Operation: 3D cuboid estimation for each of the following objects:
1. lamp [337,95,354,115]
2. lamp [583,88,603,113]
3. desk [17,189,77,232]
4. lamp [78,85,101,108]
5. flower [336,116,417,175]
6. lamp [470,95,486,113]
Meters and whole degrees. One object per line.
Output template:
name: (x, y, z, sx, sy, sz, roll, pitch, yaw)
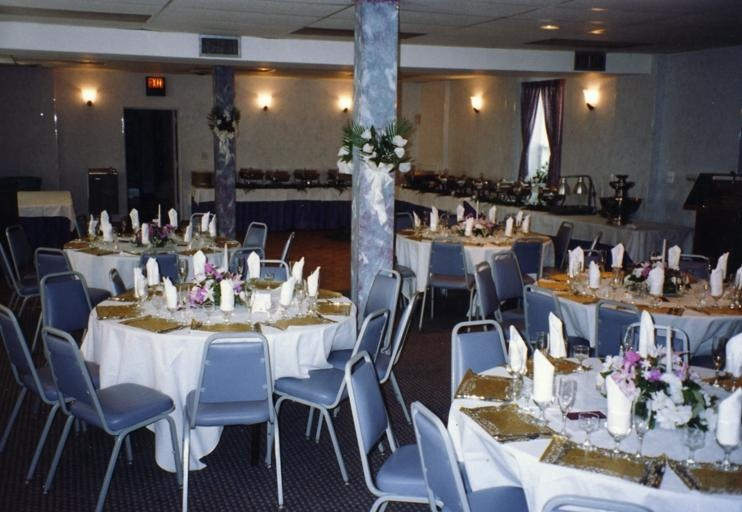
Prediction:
lamp: (-0.666, -3.797, 14.957, 0.342, 0.428, 0.157, 0, 9, 3)
lamp: (3.991, -2.819, 10.835, 0.313, 0.464, 0.344, -3, 6, -23)
desk: (-6.022, -0.935, 10.742, 1.158, 0.559, 1.183, -2, 14, -33)
lamp: (-6.176, -3.546, 13.123, 0.376, 0.468, 0.390, -11, 34, -17)
flower: (0.014, -1.101, 6.300, 0.486, 0.263, 0.613, 5, -13, -38)
lamp: (2.403, -3.486, 13.670, 0.341, 0.465, 0.343, -5, 8, -35)
